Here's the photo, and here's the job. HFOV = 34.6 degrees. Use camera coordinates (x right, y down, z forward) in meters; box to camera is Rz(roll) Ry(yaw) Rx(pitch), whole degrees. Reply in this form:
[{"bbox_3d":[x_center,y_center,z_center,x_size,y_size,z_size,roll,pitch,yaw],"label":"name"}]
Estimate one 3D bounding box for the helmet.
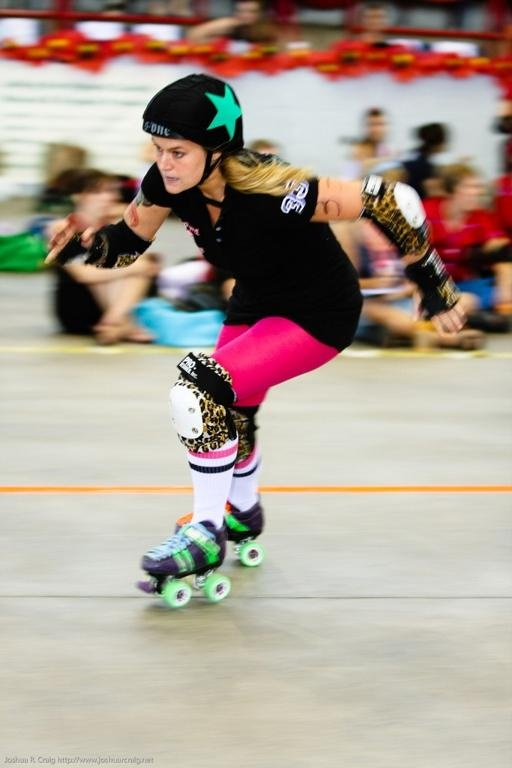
[{"bbox_3d":[-0.134,-0.597,1.796,0.176,0.164,0.230,12,19,22],"label":"helmet"}]
